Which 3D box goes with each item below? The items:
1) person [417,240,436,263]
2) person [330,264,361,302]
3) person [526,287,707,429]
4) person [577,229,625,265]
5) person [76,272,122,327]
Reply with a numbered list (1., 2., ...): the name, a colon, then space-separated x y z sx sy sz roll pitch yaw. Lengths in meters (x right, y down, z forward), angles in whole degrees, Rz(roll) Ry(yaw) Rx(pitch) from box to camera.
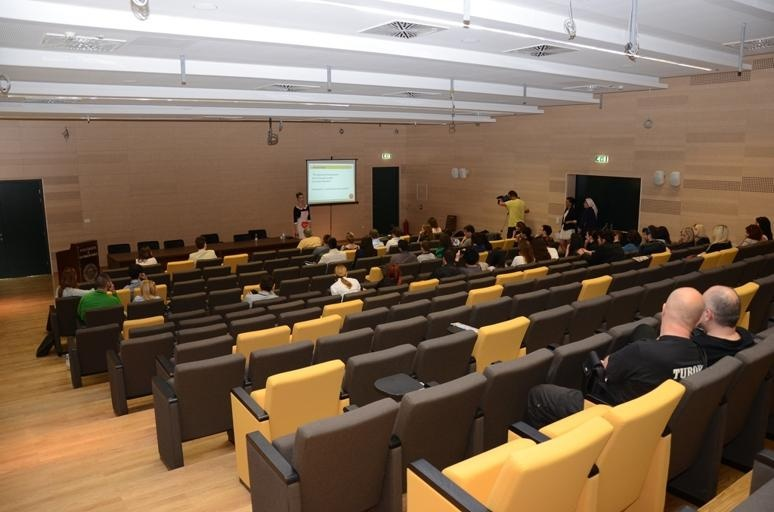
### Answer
1. person: 0.944 -0.118 12.135 0.404 0.723 0.391 -9 27 -14
2. person: -0.735 0.489 8.862 0.332 0.734 0.279 -15 47 -10
3. person: 2.246 1.013 4.961 0.679 1.640 1.040 -9 33 -28
4. person: 4.673 -0.193 11.005 0.531 1.055 0.593 -9 35 -12
5. person: -4.879 0.880 8.579 0.695 1.132 0.636 4 17 -24
